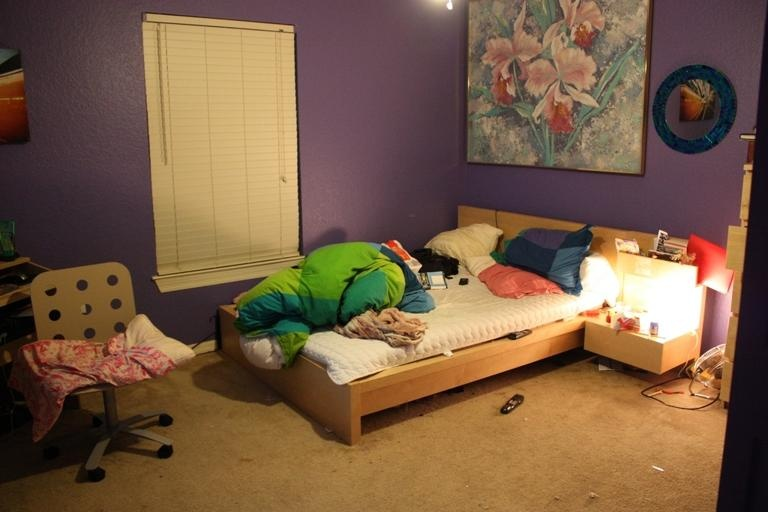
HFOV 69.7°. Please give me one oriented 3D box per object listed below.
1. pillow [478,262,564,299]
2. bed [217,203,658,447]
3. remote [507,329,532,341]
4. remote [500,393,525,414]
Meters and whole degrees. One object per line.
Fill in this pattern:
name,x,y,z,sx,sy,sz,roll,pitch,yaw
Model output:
pillow,1.161,0.223,4.942,0.385,0.101,0.374,-5,19,-26
bed,0.368,0.342,5.079,3.392,1.087,2.034,-11,20,-27
remote,1.086,0.620,4.449,0.161,0.032,0.082,-9,15,-34
remote,0.981,1.128,4.227,0.083,0.092,0.264,18,24,41
